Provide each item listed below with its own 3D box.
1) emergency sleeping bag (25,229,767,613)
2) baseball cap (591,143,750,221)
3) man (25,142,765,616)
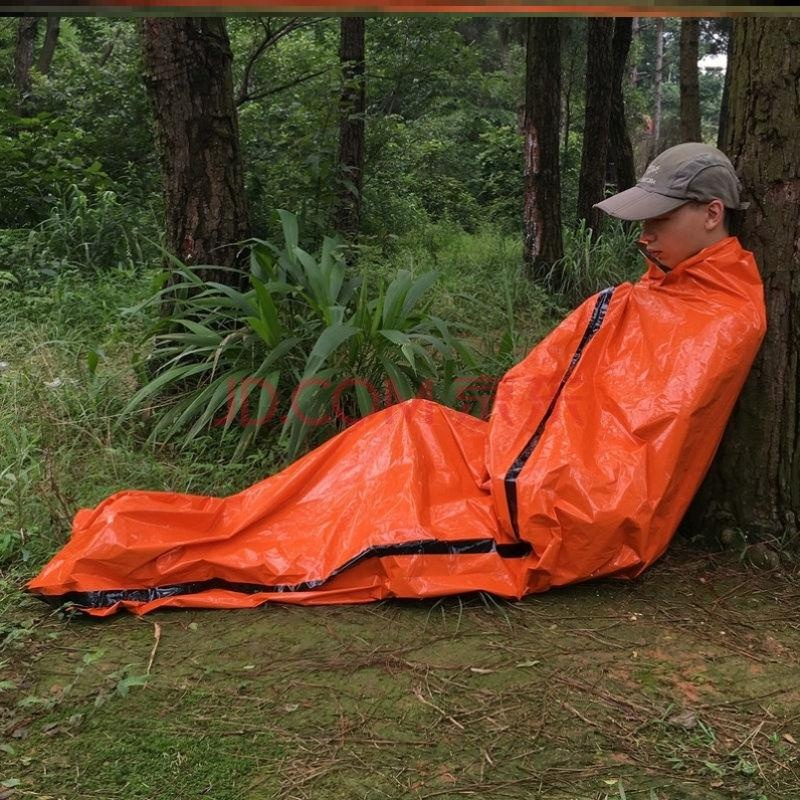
[{"bbox_3d":[-0.013,0.068,2.876,2.705,0.862,1.043,-10,24,12],"label":"emergency sleeping bag"},{"bbox_3d":[0.768,-0.649,2.635,0.471,0.162,0.243,-11,36,-19],"label":"baseball cap"},{"bbox_3d":[-0.040,-0.021,2.820,2.635,1.046,1.001,-11,23,8],"label":"man"}]
